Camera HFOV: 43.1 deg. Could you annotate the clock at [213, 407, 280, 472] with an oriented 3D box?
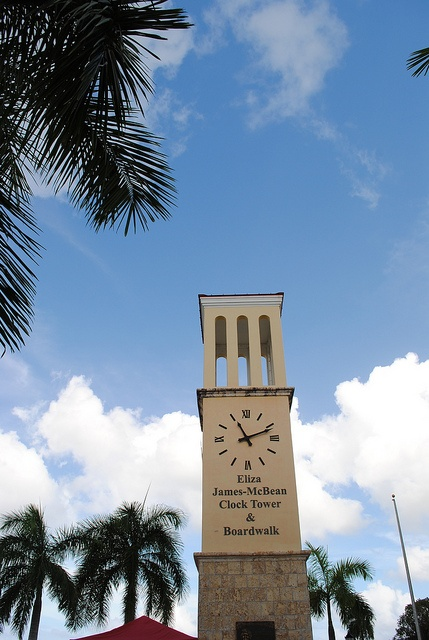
[{"bbox_3d":[0.895,3.433,15.255,1.698,1.772,0.135,1,-40,0],"label":"clock"}]
